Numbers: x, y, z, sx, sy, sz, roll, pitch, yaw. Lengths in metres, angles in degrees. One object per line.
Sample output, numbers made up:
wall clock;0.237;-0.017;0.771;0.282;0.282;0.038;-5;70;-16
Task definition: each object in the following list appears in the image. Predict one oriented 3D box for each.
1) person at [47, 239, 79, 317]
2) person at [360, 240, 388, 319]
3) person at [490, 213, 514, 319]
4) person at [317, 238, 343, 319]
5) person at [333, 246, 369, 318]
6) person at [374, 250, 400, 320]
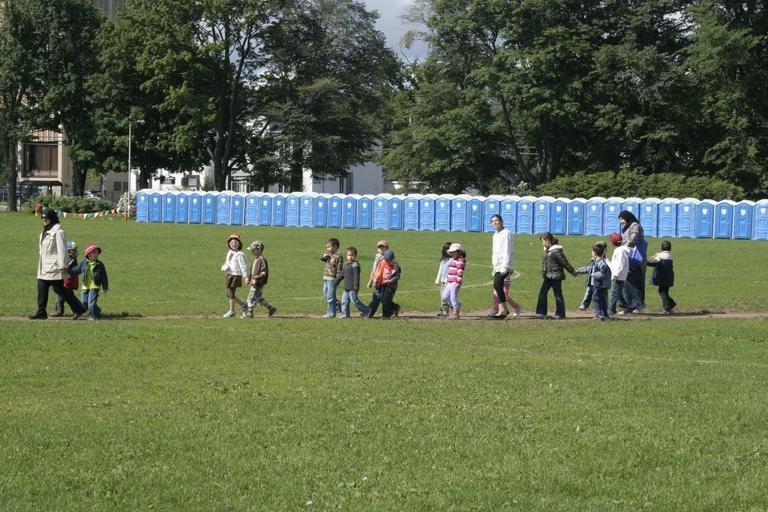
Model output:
person;-12.374;0.934;47.032;1.264;2.812;1.144;1;-1;-12
person;-0.246;0.878;47.873;0.736;2.790;0.749;19;-22;-38
person;4.599;0.396;47.744;0.956;3.863;1.471;1;2;4
person;-2.132;0.866;48.084;0.946;2.743;1.342;0;1;45
person;-1.440;1.078;48.163;1.276;2.693;0.967;0;0;-36
person;0.085;1.107;47.964;0.982;2.637;0.778;0;1;-3
